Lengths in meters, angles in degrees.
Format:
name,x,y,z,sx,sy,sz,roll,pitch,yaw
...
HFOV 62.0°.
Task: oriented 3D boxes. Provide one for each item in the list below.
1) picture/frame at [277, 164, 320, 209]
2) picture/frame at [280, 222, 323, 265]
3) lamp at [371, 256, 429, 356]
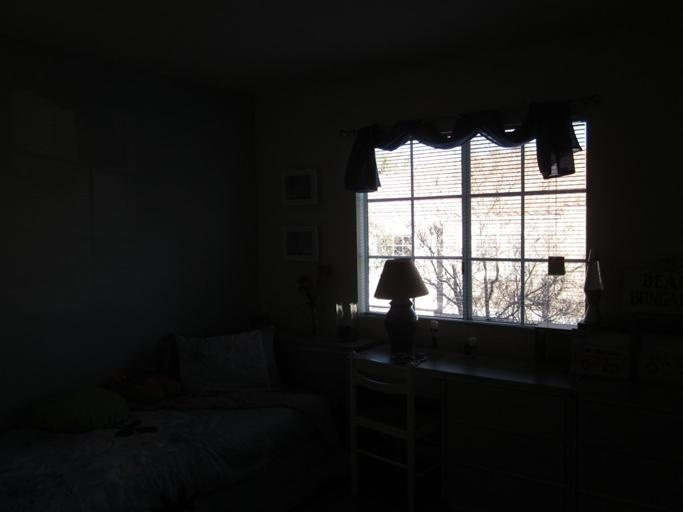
name,x,y,z,sx,sy,sz,roll,pitch,yaw
picture/frame,-0.224,-0.353,2.936,0.165,0.167,0.008,-2,-5,-1
picture/frame,-0.206,-0.052,2.931,0.211,0.221,0.015,0,-2,1
lamp,0.252,0.217,2.448,0.213,0.422,0.247,2,4,3
